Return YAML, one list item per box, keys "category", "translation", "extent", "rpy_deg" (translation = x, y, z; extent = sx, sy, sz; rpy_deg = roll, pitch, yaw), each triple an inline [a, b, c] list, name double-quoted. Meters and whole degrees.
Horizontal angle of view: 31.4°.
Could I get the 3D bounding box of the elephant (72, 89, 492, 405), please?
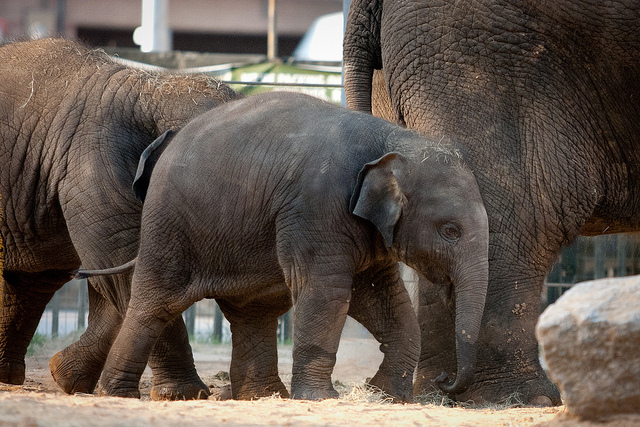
- category: "elephant"
  translation: [-0.169, 0.364, 8.329]
  extent: [2.736, 2.483, 1.212]
  rpy_deg: [6, 5, 23]
